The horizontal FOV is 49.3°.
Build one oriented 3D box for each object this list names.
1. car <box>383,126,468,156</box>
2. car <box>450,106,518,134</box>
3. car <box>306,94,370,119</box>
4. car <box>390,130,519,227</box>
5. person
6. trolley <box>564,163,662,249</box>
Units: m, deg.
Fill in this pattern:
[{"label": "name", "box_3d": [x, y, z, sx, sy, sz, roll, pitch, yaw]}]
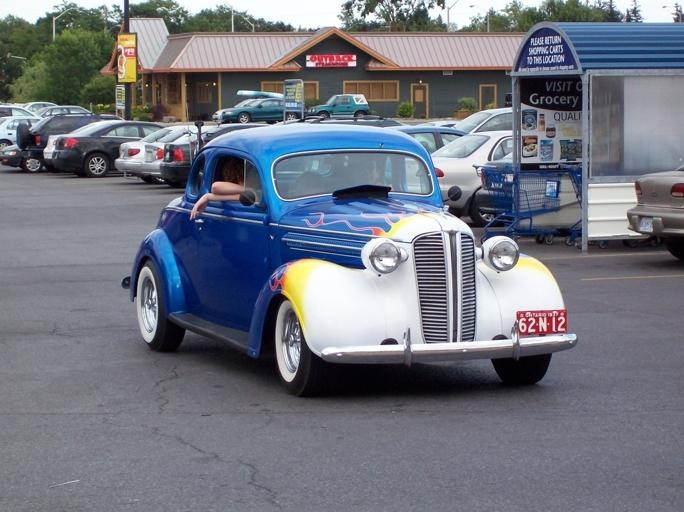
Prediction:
[{"label": "car", "box_3d": [2.139, -3.321, 20.564, 2.741, 0.996, 1.371, -7, 14, -24]}, {"label": "car", "box_3d": [4.267, -4.180, 22.991, 1.040, 0.834, 2.239, -14, 19, -39]}, {"label": "car", "box_3d": [-0.001, -11.558, 56.849, 4.222, 1.746, 2.490, -4, 9, -25]}, {"label": "car", "box_3d": [2.864, -1.854, 17.327, 2.900, 1.554, 1.603, -8, 11, -22]}, {"label": "person", "box_3d": [-1.216, -0.610, 7.510, 0.106, 0.265, 0.736, 27, 31, 34]}, {"label": "trolley", "box_3d": [5.172, -0.949, 14.601, 1.358, 0.951, 1.441, 1, 4, 27]}]
